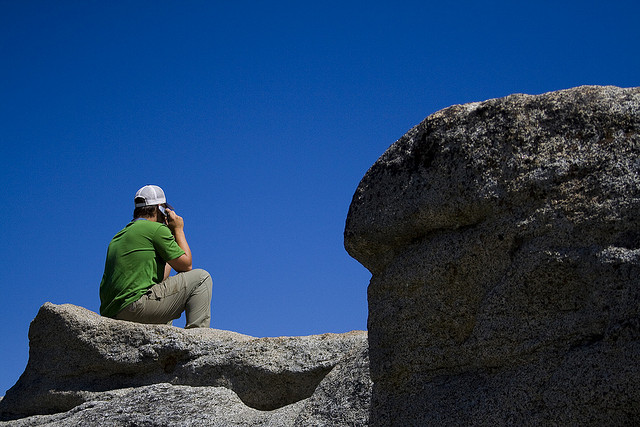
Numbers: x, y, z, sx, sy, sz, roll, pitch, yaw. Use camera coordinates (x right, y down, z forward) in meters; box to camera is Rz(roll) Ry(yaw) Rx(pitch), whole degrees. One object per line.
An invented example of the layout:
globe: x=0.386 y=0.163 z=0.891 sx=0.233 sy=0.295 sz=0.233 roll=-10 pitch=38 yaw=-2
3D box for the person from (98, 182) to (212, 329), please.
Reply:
person: x=-1.269 y=0.439 z=11.811 sx=0.745 sy=1.330 sz=0.720 roll=2 pitch=-6 yaw=-43

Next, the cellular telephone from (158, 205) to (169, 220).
cellular telephone: x=-1.271 y=-0.020 z=12.413 sx=0.024 sy=0.075 sz=0.174 roll=-22 pitch=-51 yaw=13
